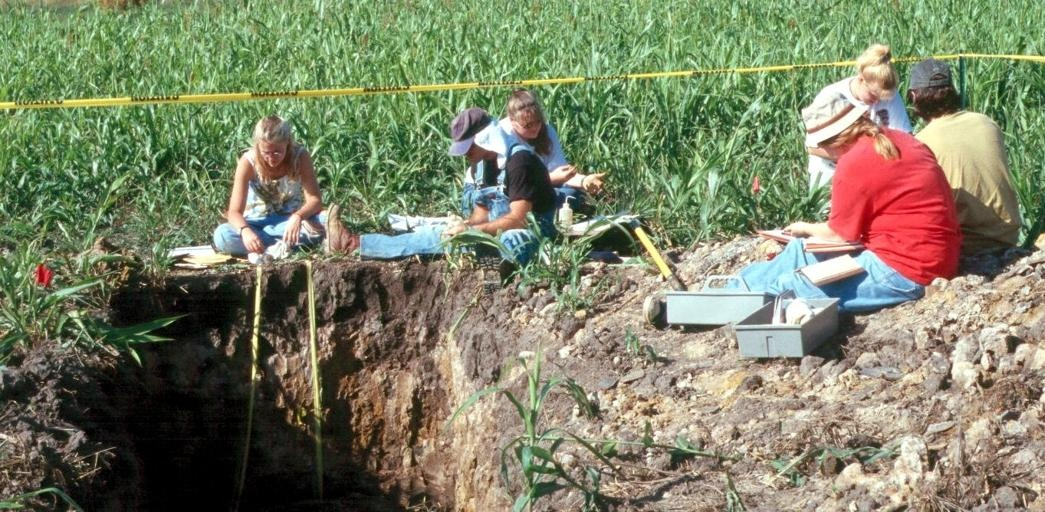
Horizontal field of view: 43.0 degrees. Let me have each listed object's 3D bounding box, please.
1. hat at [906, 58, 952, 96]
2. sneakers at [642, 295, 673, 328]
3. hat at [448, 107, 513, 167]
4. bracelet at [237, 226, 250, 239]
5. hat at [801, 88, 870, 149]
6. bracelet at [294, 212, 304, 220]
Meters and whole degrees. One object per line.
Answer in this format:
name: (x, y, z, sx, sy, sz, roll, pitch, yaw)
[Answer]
hat: (4.296, -1.910, 13.906, 0.490, 0.321, 0.642, -2, 4, 6)
sneakers: (1.363, 0.549, 13.408, 0.268, 0.307, 0.147, 33, 69, 24)
hat: (-0.444, -1.295, 13.996, 0.812, 0.495, 0.453, -10, 12, 5)
bracelet: (-2.971, -0.249, 14.111, 0.107, 0.104, 0.039, -13, -7, -8)
hat: (3.065, -1.373, 13.213, 0.533, 0.265, 0.620, -51, 17, -24)
bracelet: (-2.410, -0.419, 14.242, 0.065, 0.068, 0.089, 2, 17, 15)
